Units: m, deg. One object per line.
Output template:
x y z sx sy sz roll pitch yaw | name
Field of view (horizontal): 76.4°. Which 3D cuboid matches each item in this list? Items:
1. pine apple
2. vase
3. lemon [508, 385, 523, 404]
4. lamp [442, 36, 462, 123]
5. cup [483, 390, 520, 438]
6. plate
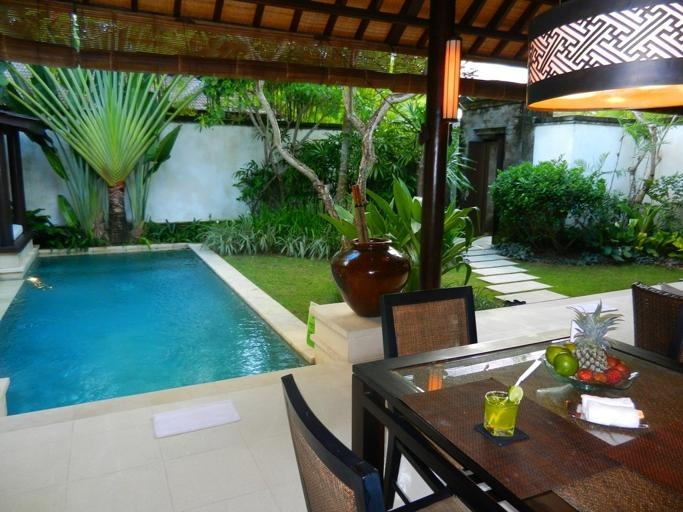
0.924 0.313 1.567 0.180 0.243 0.127 -3 6 11 | pine apple
0.207 0.137 3.376 0.530 0.651 0.474 10 11 -19 | vase
0.509 0.403 1.268 0.037 0.059 0.063 4 11 20 | lemon
0.891 -1.414 3.512 0.132 0.621 0.299 2 11 12 | lamp
0.464 0.467 1.268 0.098 0.146 0.110 1 8 -5 | cup
0.942 0.398 1.621 0.244 0.106 0.214 5 7 21 | plate
